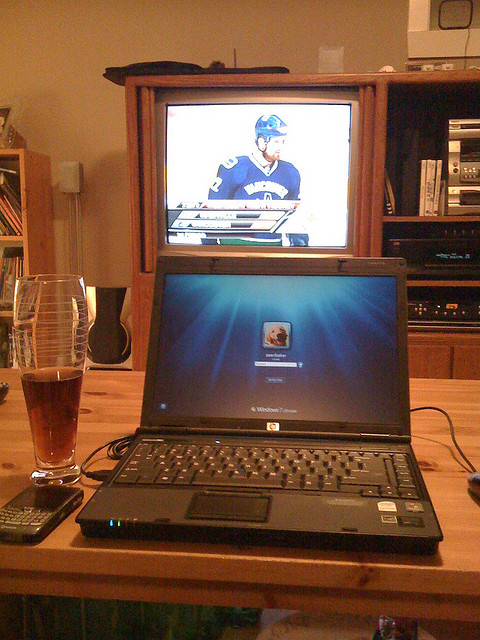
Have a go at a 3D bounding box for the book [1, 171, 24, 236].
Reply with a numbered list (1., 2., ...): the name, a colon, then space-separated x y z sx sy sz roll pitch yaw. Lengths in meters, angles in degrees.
1. book: -1.116 -0.559 2.693 0.119 0.270 0.119 -1 9 0

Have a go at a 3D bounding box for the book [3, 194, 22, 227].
1. book: -1.119 -0.532 2.673 0.031 0.182 0.043 -25 20 54

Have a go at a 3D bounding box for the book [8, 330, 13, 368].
1. book: -1.133 0.141 2.683 0.019 0.114 0.489 -5 10 -23

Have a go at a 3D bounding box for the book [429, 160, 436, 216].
1. book: 0.807 -0.552 2.281 0.019 0.221 0.030 3 9 24

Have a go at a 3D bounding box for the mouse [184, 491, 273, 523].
1. mouse: -0.010 0.177 0.516 0.079 0.006 0.046 0 9 6

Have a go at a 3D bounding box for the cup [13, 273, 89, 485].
1. cup: -0.201 0.070 0.598 0.078 0.230 0.072 -1 9 0

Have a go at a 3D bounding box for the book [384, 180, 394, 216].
1. book: 0.626 -0.506 2.290 0.035 0.123 0.019 3 10 26

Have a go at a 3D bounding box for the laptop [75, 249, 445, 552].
1. laptop: 0.033 0.056 0.613 0.330 0.254 0.370 0 6 6
